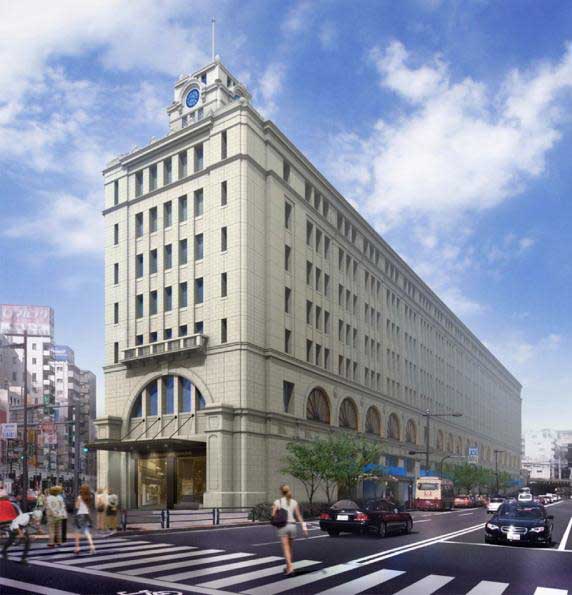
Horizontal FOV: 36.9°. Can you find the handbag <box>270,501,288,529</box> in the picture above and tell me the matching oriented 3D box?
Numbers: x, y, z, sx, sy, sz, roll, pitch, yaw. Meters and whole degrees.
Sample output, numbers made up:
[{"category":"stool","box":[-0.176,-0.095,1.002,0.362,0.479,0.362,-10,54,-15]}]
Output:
[{"category":"handbag","box":[-0.142,5.640,21.819,0.422,0.600,0.377,4,-4,1]}]

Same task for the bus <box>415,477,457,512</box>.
[{"category":"bus","box":[12.712,16.547,71.623,2.348,2.894,5.737,1,-6,27]}]

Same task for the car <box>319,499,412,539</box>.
[{"category":"car","box":[3.433,8.558,33.296,1.534,1.050,3.465,-7,-13,34]}]
